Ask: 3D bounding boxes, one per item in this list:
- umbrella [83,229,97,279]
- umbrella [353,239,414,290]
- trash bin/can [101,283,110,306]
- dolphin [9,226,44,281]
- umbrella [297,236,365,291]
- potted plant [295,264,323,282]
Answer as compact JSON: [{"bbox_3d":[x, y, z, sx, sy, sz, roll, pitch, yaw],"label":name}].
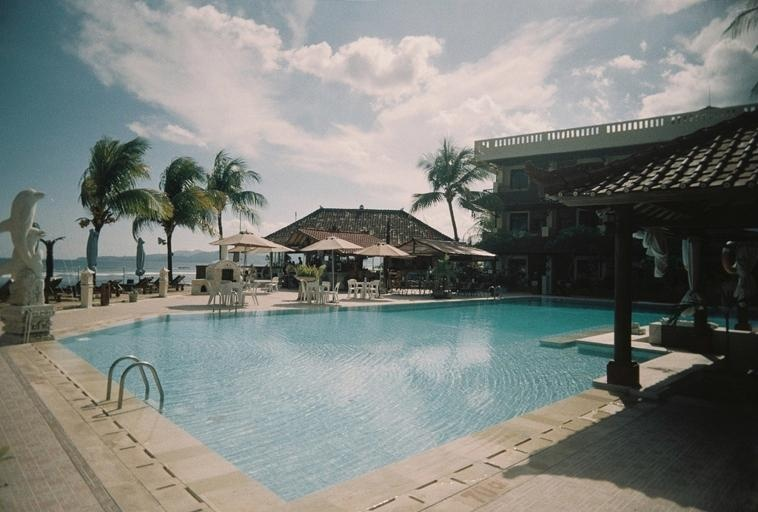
[{"bbox_3d":[-12.794,-0.171,22.661,0.440,1.961,0.784,0,-4,-30],"label":"umbrella"},{"bbox_3d":[0.158,-0.063,27.284,1.771,1.580,1.771,3,3,44],"label":"umbrella"},{"bbox_3d":[-10.758,1.545,19.947,0.220,0.821,0.339,0,-4,-38],"label":"trash bin/can"},{"bbox_3d":[-9.476,0.008,13.908,0.736,1.562,0.654,15,-10,26],"label":"dolphin"},{"bbox_3d":[-2.556,0.633,26.990,3.099,2.725,3.172,-1,5,13],"label":"umbrella"},{"bbox_3d":[-3.476,0.877,24.553,0.989,0.549,0.925,-4,-5,44],"label":"potted plant"}]
